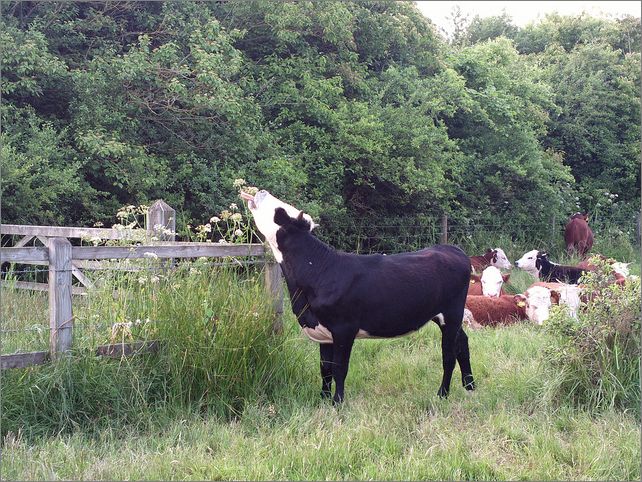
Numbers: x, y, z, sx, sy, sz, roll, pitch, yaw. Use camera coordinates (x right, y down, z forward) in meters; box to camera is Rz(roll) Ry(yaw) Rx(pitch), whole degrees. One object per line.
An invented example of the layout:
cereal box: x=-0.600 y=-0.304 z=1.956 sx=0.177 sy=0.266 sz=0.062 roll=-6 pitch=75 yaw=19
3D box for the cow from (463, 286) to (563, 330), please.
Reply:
cow: x=3.269 y=1.064 z=12.033 sx=1.649 sy=0.988 sz=0.671 roll=2 pitch=10 yaw=-35

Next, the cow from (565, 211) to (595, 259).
cow: x=6.347 y=-0.160 z=18.086 sx=0.407 sy=0.769 sz=1.334 roll=3 pitch=20 yaw=17

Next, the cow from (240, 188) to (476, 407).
cow: x=0.448 y=0.840 z=10.833 sx=2.876 sy=2.656 sz=0.998 roll=2 pitch=1 yaw=-7
